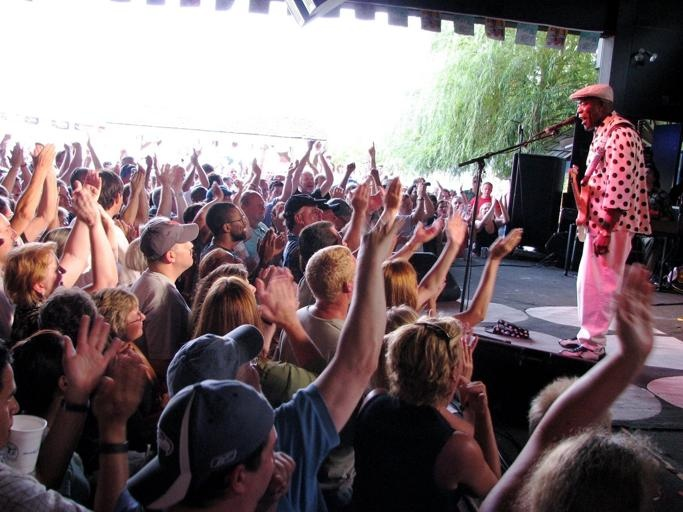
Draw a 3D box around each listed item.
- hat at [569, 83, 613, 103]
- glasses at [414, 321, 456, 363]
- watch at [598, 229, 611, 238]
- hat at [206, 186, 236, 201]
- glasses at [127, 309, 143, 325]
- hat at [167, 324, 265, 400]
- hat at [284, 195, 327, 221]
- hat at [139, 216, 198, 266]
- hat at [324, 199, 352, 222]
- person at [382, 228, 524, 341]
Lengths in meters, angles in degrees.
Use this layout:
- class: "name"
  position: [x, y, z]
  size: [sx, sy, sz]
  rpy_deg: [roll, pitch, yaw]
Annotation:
- class: "hat"
  position: [1.713, -1.109, 3.126]
  size: [0.246, 0.109, 0.228]
  rpy_deg: [1, 15, 8]
- class: "glasses"
  position: [0.326, 0.288, 1.570]
  size: [0.109, 0.128, 0.033]
  rpy_deg: [-3, 10, 40]
- class: "watch"
  position: [1.717, -0.144, 2.991]
  size: [0.053, 0.046, 0.055]
  rpy_deg: [-2, -2, 40]
- class: "hat"
  position: [-1.021, -0.531, 3.930]
  size: [0.170, 0.100, 0.258]
  rpy_deg: [5, 11, 15]
- class: "glasses"
  position: [-0.976, 0.288, 2.172]
  size: [0.053, 0.062, 0.027]
  rpy_deg: [5, -7, 32]
- class: "hat"
  position: [-0.366, 0.329, 1.393]
  size: [0.259, 0.104, 0.166]
  rpy_deg: [-30, 39, -29]
- class: "hat"
  position: [-0.255, -0.356, 3.208]
  size: [0.236, 0.131, 0.156]
  rpy_deg: [-18, 7, -14]
- class: "hat"
  position: [-0.891, -0.083, 2.422]
  size: [0.260, 0.144, 0.169]
  rpy_deg: [-33, 7, -12]
- class: "hat"
  position: [-0.013, -0.354, 3.483]
  size: [0.190, 0.103, 0.134]
  rpy_deg: [38, 27, 6]
- class: "person"
  position: [0.810, 0.201, 3.222]
  size: [0.911, 0.934, 0.390]
  rpy_deg: [-9, 0, -36]
